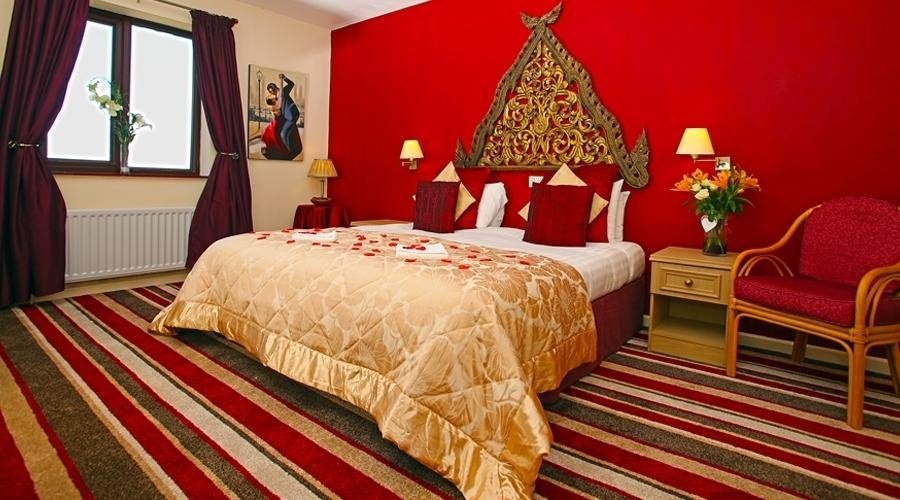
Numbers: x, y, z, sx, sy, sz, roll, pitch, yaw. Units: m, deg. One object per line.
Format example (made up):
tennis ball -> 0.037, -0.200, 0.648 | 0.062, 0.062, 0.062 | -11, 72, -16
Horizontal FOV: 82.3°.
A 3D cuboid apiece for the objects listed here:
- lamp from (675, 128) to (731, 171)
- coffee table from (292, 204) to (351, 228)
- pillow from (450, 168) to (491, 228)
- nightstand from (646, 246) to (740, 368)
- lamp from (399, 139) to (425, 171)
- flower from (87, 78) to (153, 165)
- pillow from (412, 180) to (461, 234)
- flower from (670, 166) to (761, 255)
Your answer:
lamp -> 2.623, -1.030, 5.430 | 0.587, 0.387, 0.397 | 2, -2, -26
coffee table -> -1.864, -0.485, 7.561 | 0.567, 0.269, 0.552 | 1, -1, 5
pillow -> 0.435, -0.612, 6.540 | 0.227, 0.650, 0.733 | 14, -9, -32
nightstand -> 2.460, 0.549, 5.282 | 0.819, 1.083, 0.610 | 10, 10, 28
lamp -> -0.553, -1.322, 7.089 | 0.399, 0.403, 0.437 | 3, 13, 21
flower -> -4.102, -1.575, 6.437 | 0.663, 1.078, 0.272 | 0, 11, -33
pillow -> -0.129, -0.501, 6.191 | 0.675, 0.614, 0.244 | 2, -19, 29
flower -> 2.798, -0.388, 5.548 | 0.978, 0.905, 0.892 | -1, 1, -41
